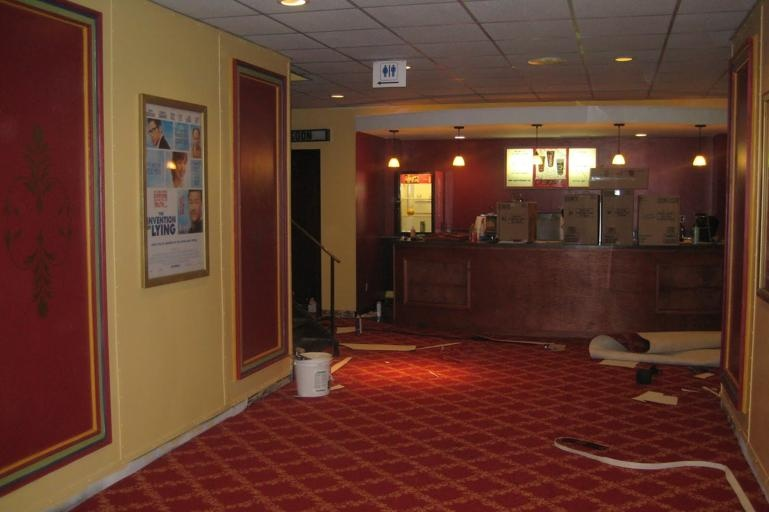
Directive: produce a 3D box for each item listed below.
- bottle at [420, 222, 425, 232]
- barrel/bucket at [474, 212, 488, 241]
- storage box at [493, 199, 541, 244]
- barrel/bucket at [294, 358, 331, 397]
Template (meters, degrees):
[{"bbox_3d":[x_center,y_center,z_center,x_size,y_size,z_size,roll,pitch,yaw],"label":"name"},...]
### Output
[{"bbox_3d":[0.835,-0.641,12.308,0.141,0.232,0.051,-5,9,-35],"label":"bottle"},{"bbox_3d":[1.670,-0.489,9.936,0.204,0.399,0.610,1,7,9],"label":"barrel/bucket"},{"bbox_3d":[2.142,-0.554,9.359,0.740,0.650,0.693,-1,0,-2],"label":"storage box"},{"bbox_3d":[-0.778,1.370,6.414,0.492,0.350,0.411,0,3,2],"label":"barrel/bucket"}]
